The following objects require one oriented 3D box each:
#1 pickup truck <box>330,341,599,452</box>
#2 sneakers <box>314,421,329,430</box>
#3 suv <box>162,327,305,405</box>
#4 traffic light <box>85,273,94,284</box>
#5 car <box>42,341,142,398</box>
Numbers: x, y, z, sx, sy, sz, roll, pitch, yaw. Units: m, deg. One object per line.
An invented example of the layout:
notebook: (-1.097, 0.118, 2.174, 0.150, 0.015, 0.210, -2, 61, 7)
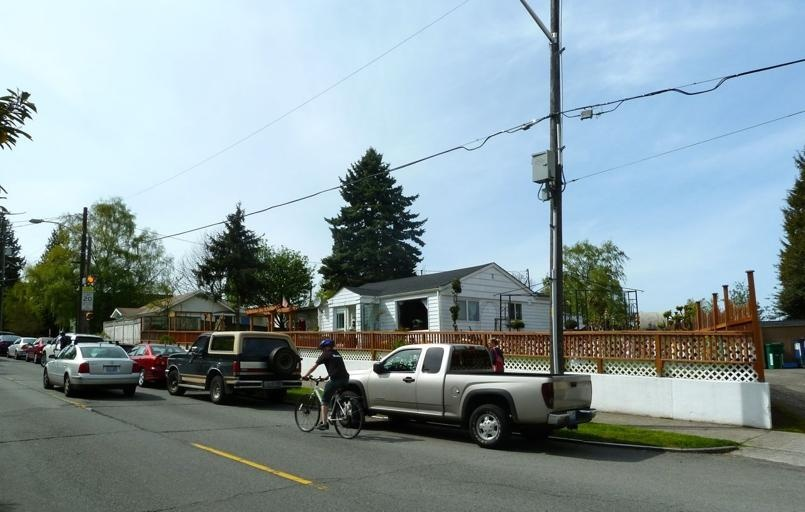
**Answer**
pickup truck: (1.974, 4.012, 20.242, 6.643, 2.489, 3.114, -1, -8, 36)
sneakers: (-2.288, 4.922, 20.197, 0.168, 0.209, 0.482, 2, -5, -17)
suv: (-6.486, 4.041, 26.287, 2.554, 2.256, 4.990, 5, -6, -39)
traffic light: (-16.395, 1.165, 36.847, 0.485, 0.551, 0.259, 7, 18, 32)
car: (-11.800, 4.259, 26.387, 3.777, 2.071, 1.826, -7, -15, 30)
